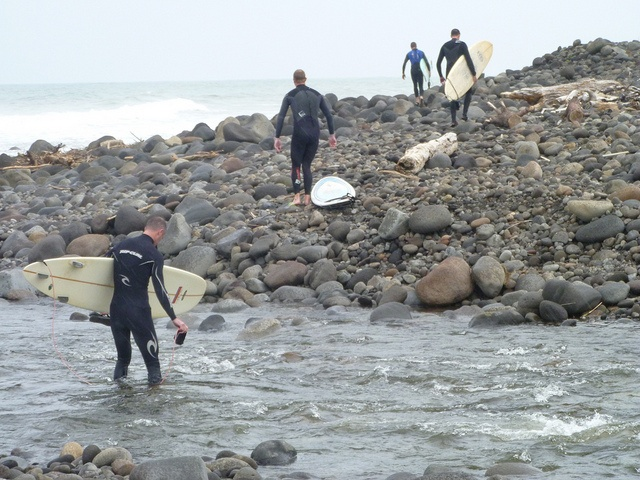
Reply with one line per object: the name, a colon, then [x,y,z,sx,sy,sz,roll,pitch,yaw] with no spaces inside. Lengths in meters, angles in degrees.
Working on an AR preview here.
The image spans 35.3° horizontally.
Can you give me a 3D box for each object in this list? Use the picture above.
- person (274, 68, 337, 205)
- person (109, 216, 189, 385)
person: [-0.288,-2.007,20.073,1.166,2.698,1.188,-3,8,0]
person: [-2.641,0.915,14.768,0.926,2.506,0.512,-5,9,-9]
